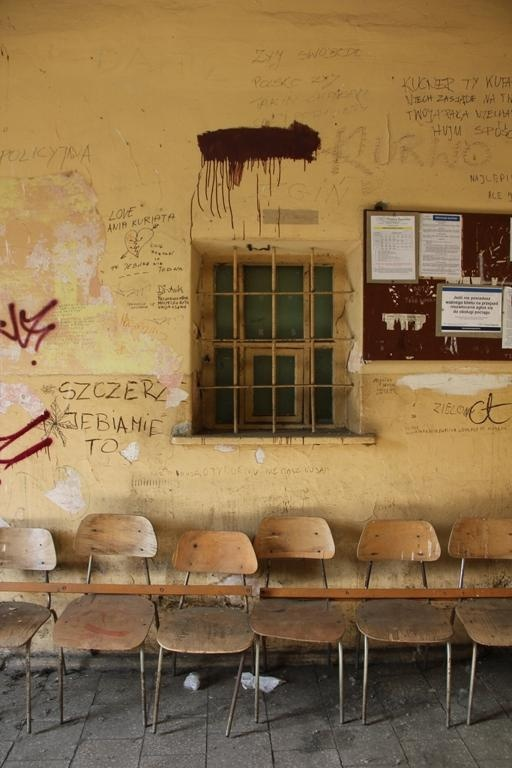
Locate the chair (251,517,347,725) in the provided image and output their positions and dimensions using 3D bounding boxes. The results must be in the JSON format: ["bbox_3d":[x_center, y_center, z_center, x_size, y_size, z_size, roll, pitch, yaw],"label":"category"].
[{"bbox_3d":[0.213,1.216,3.956,0.550,0.837,0.643,-3,13,-9],"label":"chair"}]

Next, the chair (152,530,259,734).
[{"bbox_3d":[-0.234,1.297,3.936,0.654,0.806,0.685,-8,24,-17],"label":"chair"}]

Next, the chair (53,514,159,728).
[{"bbox_3d":[-0.780,1.203,3.962,0.557,0.889,0.814,-4,9,-10],"label":"chair"}]
